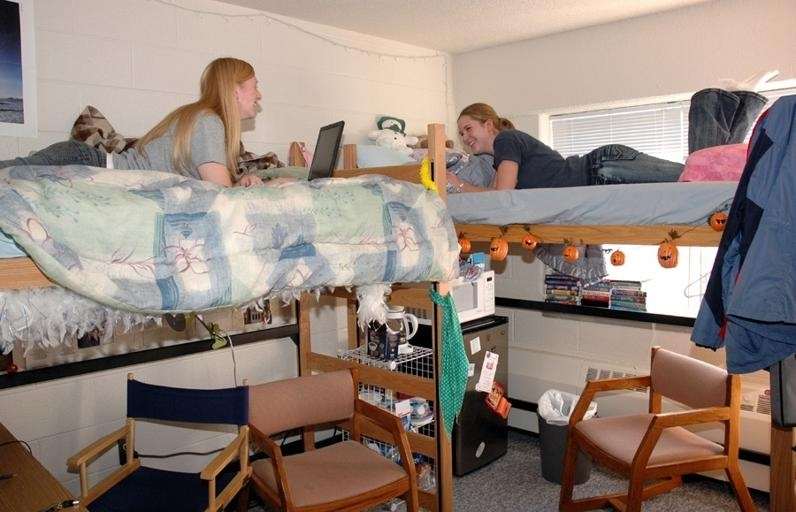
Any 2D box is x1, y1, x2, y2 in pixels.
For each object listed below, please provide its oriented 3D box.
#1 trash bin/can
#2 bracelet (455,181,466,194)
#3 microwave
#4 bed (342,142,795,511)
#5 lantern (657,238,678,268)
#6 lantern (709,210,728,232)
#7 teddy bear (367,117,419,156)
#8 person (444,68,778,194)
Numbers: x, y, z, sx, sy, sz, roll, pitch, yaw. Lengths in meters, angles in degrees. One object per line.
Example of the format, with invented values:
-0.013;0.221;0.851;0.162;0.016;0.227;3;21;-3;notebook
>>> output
1.281;1.527;4.776;0.545;0.525;0.495;-1;8;-2;trash bin/can
0.440;-0.472;4.053;0.074;0.046;0.075;2;1;8;bracelet
0.519;0.316;5.049;0.453;0.476;0.795;-2;5;41;microwave
1.171;0.520;3.960;2.978;2.218;1.070;-4;-4;36;bed
1.609;-0.012;3.442;0.098;0.177;0.179;4;14;28;lantern
1.809;-0.189;3.258;0.095;0.114;0.063;-2;12;0;lantern
-0.086;-1.045;5.046;0.362;0.319;0.205;-20;9;-39;teddy bear
1.322;-0.673;3.988;1.927;0.748;1.103;-1;9;34;person
